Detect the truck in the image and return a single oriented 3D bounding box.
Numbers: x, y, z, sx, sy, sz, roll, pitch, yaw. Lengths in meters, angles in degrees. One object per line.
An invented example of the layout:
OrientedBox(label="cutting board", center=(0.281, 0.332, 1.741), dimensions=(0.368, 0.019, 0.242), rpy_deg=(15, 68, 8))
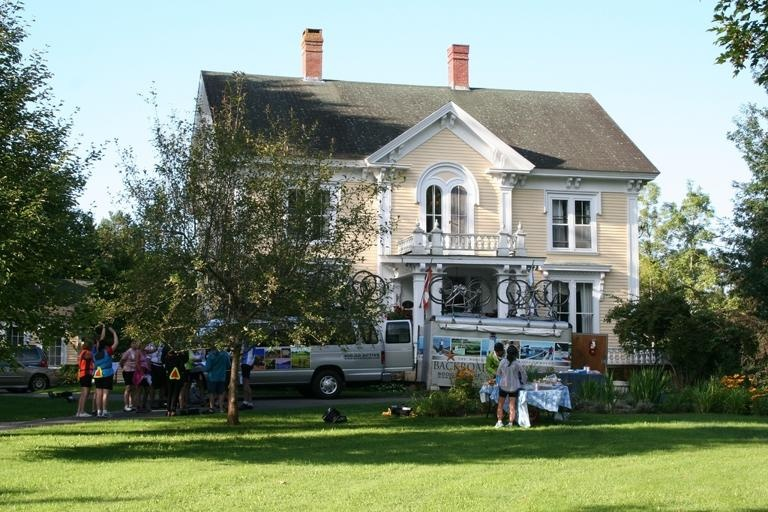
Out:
OrientedBox(label="truck", center=(-1.571, 3.679, 38.576), dimensions=(11.914, 3.537, 4.574), rpy_deg=(2, -3, -16))

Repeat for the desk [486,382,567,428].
OrientedBox(label="desk", center=(4.382, 4.492, 33.109), dimensions=(2.009, 0.800, 2.169), rpy_deg=(-3, -11, 7))

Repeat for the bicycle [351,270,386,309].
OrientedBox(label="bicycle", center=(-0.622, 0.896, 34.099), dimensions=(0.313, 1.437, 1.268), rpy_deg=(-21, -24, 35))
